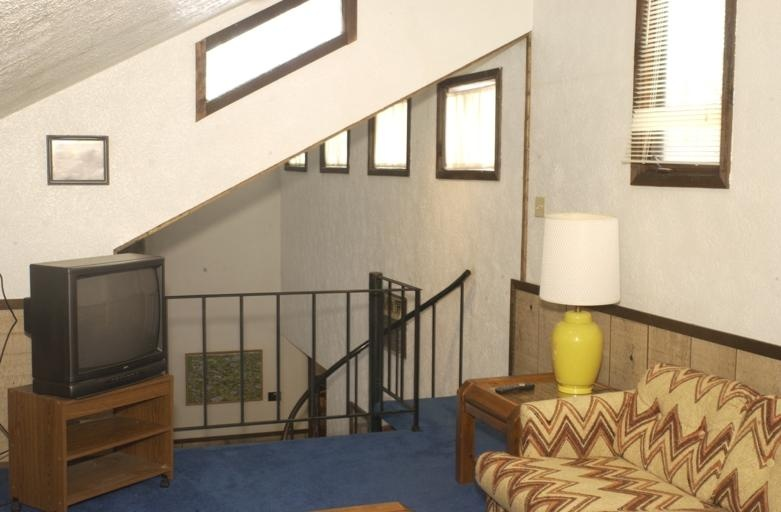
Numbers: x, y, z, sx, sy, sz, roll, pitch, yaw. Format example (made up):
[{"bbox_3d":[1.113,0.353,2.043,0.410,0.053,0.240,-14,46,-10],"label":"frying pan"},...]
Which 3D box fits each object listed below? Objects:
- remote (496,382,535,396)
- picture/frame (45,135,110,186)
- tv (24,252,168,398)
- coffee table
[{"bbox_3d":[0.806,0.806,4.302,0.366,0.071,0.079,1,1,-31],"label":"remote"},{"bbox_3d":[-1.972,-0.607,4.433,0.365,0.308,0.031,-1,1,-9],"label":"picture/frame"},{"bbox_3d":[-1.823,0.396,4.248,0.602,0.753,0.701,5,7,24],"label":"tv"},{"bbox_3d":[0.863,1.152,4.321,0.761,0.572,0.753,-1,3,-21],"label":"coffee table"}]
